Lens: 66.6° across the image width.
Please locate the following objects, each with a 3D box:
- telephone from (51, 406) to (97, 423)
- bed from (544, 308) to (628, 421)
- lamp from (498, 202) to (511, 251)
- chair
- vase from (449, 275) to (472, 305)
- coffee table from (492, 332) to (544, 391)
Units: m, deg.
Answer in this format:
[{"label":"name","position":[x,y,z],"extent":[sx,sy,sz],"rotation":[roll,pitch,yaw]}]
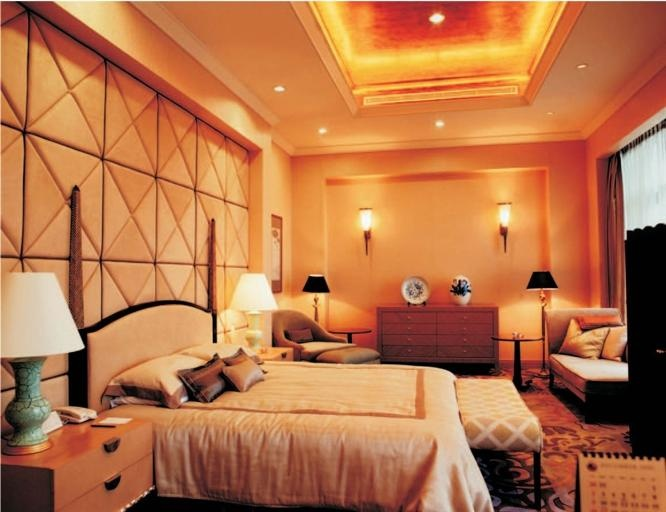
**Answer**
[{"label":"telephone","position":[-1.560,0.955,3.078],"extent":[0.138,0.035,0.122],"rotation":[5,-3,4]},{"label":"bed","position":[2.591,1.098,5.200],"extent":[0.749,0.965,1.582],"rotation":[5,6,19]},{"label":"lamp","position":[2.331,-0.385,6.946],"extent":[0.179,0.662,0.162],"rotation":[4,7,12]},{"label":"chair","position":[-0.268,0.912,6.115],"extent":[0.624,0.636,0.689],"rotation":[-12,-13,42]},{"label":"vase","position":[1.688,0.461,6.708],"extent":[0.363,0.435,0.345],"rotation":[-2,0,10]},{"label":"coffee table","position":[2.219,1.236,6.161],"extent":[0.707,0.702,0.698],"rotation":[-2,-5,9]}]
